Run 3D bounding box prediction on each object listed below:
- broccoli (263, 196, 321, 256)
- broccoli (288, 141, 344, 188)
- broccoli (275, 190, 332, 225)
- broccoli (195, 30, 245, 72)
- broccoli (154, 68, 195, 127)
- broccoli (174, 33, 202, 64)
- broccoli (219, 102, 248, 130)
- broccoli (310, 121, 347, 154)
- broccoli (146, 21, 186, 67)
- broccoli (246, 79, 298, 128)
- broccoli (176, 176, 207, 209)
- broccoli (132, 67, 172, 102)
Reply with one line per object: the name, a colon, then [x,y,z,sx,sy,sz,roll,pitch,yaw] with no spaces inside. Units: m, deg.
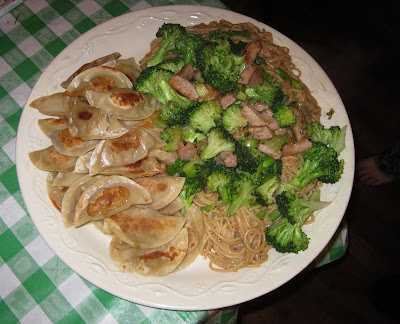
broccoli: [1.282,0.838,5.042,0.612,0.817,0.662,-5,31,-8]
broccoli: [1.615,0.107,4.992,0.643,0.326,0.514,-44,63,22]
broccoli: [1.400,0.592,4.984,0.577,0.220,0.427,-12,80,-10]
broccoli: [0.222,-1.545,4.995,0.573,0.257,0.696,8,64,-6]
broccoli: [-0.431,-0.823,5.077,0.492,0.227,0.804,-13,74,-43]
broccoli: [-0.194,-1.651,5.304,0.386,0.426,0.433,-17,59,-13]
broccoli: [0.455,-0.598,4.812,0.321,0.139,0.318,30,86,-1]
broccoli: [1.827,-0.351,4.969,0.410,0.146,0.460,0,80,-5]
broccoli: [-0.525,-1.666,5.482,0.461,0.306,0.719,36,88,5]
broccoli: [1.016,-0.796,5.162,0.469,0.223,0.720,-42,83,-10]
broccoli: [-0.097,0.426,5.057,0.263,0.424,0.325,0,31,3]
broccoli: [-0.641,-1.124,5.097,0.544,0.475,0.540,-12,30,-13]
